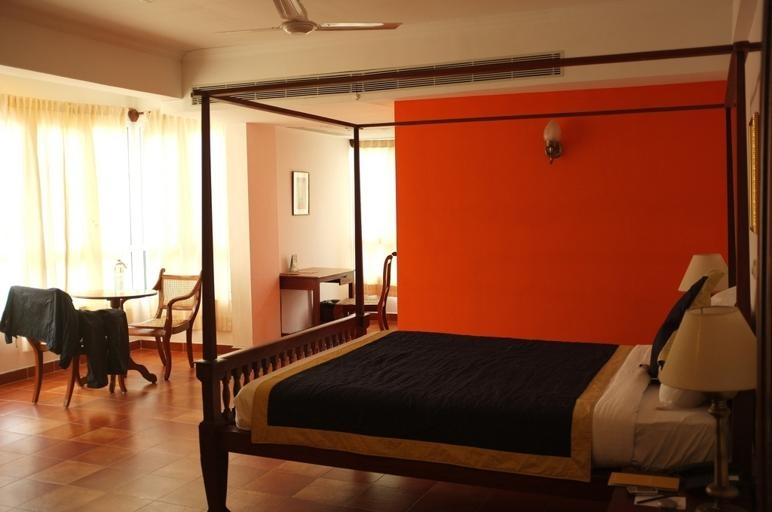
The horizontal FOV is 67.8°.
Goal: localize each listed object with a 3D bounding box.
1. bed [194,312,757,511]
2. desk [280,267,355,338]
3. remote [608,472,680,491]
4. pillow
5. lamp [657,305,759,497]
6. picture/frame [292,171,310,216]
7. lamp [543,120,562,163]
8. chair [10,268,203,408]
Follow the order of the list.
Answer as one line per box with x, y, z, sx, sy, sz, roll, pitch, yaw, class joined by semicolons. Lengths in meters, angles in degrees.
0.395;0.907;3.868;2.739;1.097;1.600;2;5;18;bed
-0.834;0.489;7.984;0.481;0.618;0.792;-8;10;40;desk
1.313;1.148;2.931;0.227;0.022;0.128;0;3;14;remote
1.732;0.468;3.279;0.399;0.696;0.749;5;6;28;pillow
1.458;0.662;2.634;0.373;0.878;0.274;3;9;26;lamp
-1.204;-0.890;8.031;0.054;0.773;0.660;0;2;21;picture/frame
1.689;-1.154;5.803;0.190;0.408;0.174;2;9;16;lamp
-2.931;0.780;6.470;1.260;1.207;2.017;4;8;32;chair
